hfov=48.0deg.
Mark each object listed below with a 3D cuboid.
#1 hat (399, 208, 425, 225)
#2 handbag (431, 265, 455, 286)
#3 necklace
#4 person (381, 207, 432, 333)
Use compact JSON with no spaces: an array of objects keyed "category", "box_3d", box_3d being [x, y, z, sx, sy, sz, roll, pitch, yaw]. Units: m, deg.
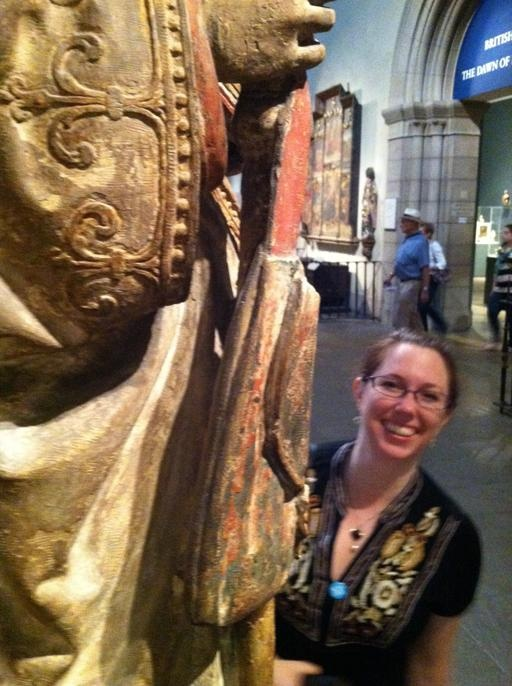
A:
[{"category":"hat","box_3d":[1.746,-1.434,6.472,0.173,0.168,0.438,5,10,19]},{"category":"handbag","box_3d":[2.295,-0.843,7.140,0.161,0.271,0.281,-30,2,44]},{"category":"necklace","box_3d":[0.247,0.329,1.233,0.169,0.230,0.084,28,-18,6]},{"category":"person","box_3d":[1.736,-0.832,6.627,0.475,1.467,1.319,4,10,12]}]
